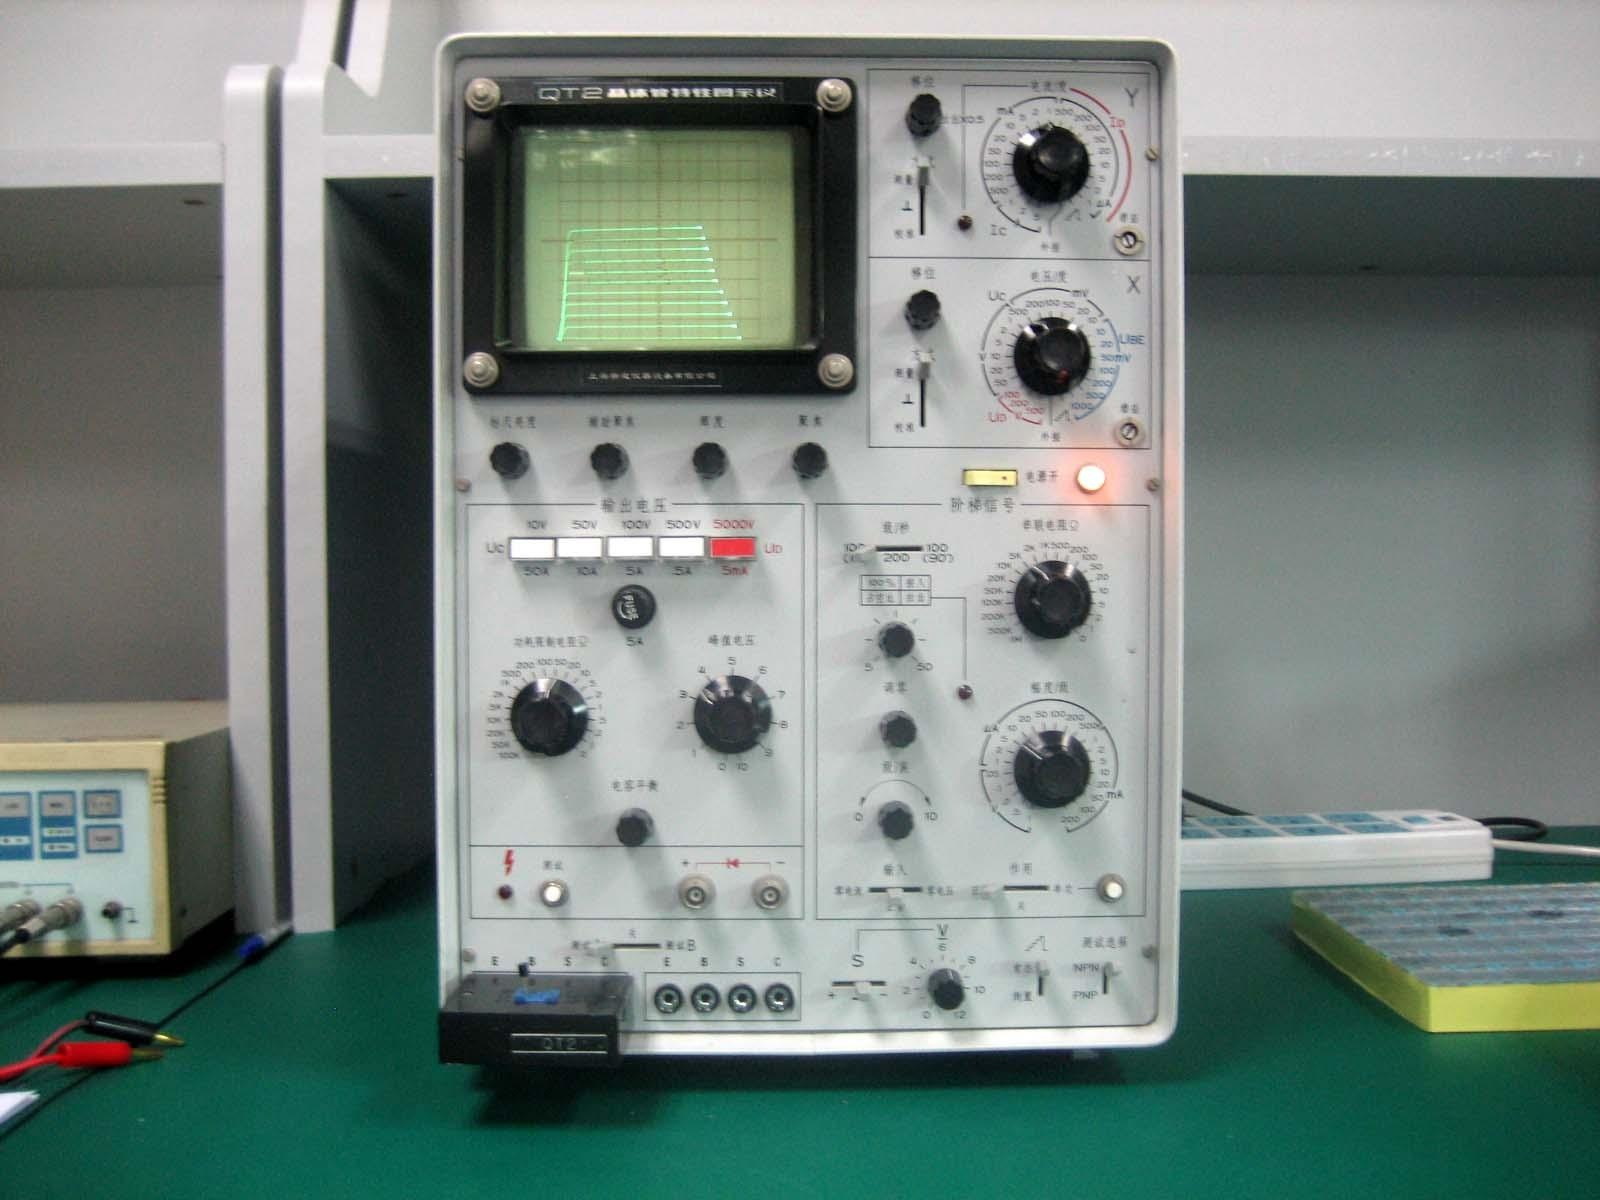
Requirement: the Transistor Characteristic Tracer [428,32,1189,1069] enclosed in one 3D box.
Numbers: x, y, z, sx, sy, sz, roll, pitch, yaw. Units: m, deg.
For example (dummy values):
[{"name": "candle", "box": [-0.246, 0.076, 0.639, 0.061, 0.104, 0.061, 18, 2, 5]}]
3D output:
[{"name": "Transistor Characteristic Tracer", "box": [0.026, -0.149, 2.966, 1.115, 1.496, 0.968, 1, 14, -1]}]
